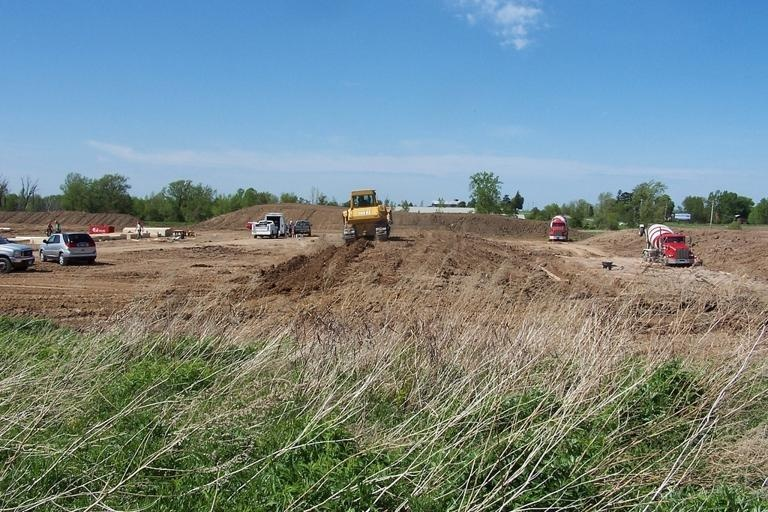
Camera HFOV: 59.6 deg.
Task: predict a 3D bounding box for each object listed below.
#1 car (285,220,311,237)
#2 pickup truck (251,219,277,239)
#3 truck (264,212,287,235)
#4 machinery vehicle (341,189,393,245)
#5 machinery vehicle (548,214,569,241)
[{"bbox_3d":[-7.272,-2.294,56.715,1.799,1.233,3.368,-1,9,-4],"label":"car"},{"bbox_3d":[-9.044,-2.064,51.567,2.157,1.349,0.832,3,7,29],"label":"pickup truck"},{"bbox_3d":[-8.435,-2.541,52.776,1.392,1.506,2.215,1,9,2],"label":"truck"},{"bbox_3d":[-0.857,-2.022,33.058,2.170,2.415,3.064,-1,7,-3],"label":"machinery vehicle"},{"bbox_3d":[13.866,-2.099,53.290,1.339,2.009,1.491,0,6,6],"label":"machinery vehicle"}]
